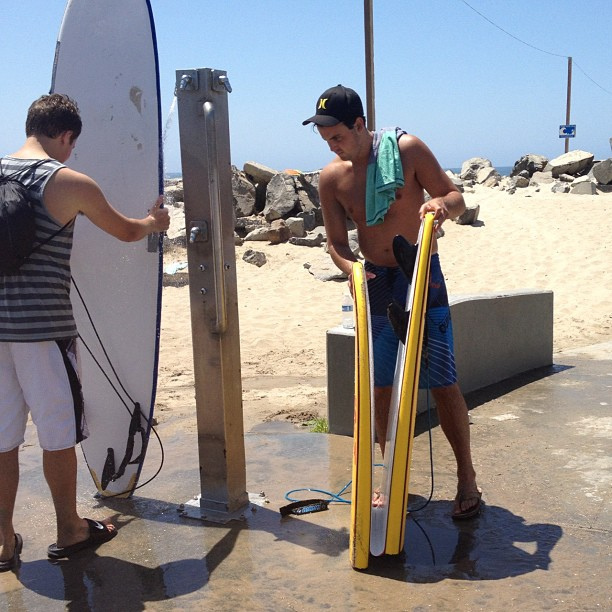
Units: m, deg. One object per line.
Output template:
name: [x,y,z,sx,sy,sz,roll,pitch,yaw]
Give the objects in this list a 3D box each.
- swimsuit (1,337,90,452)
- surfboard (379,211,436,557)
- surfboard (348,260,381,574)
swimsuit: [-1.010,0.331,3.341,0.326,0.430,0.171,-7,13,-17]
surfboard: [0.386,0.286,3.355,0.267,1.263,0.460,-3,12,7]
surfboard: [0.193,0.406,3.253,0.115,1.098,0.353,-2,12,10]
